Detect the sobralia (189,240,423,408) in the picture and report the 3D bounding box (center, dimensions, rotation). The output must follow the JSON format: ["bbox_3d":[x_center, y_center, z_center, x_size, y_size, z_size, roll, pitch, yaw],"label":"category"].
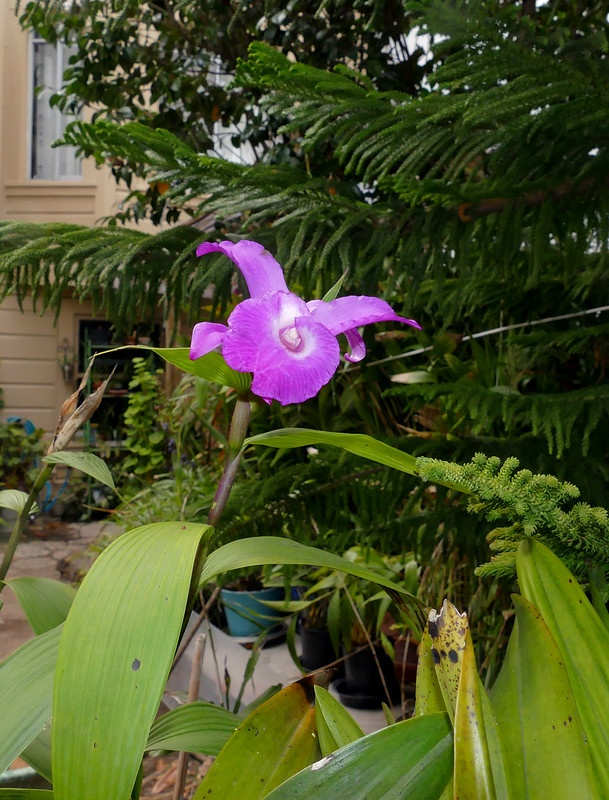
[{"bbox_3d":[0.001,-0.069,0.706,0.210,0.149,0.163,1,6,-8],"label":"sobralia"}]

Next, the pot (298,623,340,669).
[{"bbox_3d":[0.027,0.671,2.128,0.066,0.127,0.115,-1,7,-27],"label":"pot"}]

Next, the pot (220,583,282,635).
[{"bbox_3d":[-0.163,0.642,2.427,0.163,0.183,0.182,5,-29,8],"label":"pot"}]
